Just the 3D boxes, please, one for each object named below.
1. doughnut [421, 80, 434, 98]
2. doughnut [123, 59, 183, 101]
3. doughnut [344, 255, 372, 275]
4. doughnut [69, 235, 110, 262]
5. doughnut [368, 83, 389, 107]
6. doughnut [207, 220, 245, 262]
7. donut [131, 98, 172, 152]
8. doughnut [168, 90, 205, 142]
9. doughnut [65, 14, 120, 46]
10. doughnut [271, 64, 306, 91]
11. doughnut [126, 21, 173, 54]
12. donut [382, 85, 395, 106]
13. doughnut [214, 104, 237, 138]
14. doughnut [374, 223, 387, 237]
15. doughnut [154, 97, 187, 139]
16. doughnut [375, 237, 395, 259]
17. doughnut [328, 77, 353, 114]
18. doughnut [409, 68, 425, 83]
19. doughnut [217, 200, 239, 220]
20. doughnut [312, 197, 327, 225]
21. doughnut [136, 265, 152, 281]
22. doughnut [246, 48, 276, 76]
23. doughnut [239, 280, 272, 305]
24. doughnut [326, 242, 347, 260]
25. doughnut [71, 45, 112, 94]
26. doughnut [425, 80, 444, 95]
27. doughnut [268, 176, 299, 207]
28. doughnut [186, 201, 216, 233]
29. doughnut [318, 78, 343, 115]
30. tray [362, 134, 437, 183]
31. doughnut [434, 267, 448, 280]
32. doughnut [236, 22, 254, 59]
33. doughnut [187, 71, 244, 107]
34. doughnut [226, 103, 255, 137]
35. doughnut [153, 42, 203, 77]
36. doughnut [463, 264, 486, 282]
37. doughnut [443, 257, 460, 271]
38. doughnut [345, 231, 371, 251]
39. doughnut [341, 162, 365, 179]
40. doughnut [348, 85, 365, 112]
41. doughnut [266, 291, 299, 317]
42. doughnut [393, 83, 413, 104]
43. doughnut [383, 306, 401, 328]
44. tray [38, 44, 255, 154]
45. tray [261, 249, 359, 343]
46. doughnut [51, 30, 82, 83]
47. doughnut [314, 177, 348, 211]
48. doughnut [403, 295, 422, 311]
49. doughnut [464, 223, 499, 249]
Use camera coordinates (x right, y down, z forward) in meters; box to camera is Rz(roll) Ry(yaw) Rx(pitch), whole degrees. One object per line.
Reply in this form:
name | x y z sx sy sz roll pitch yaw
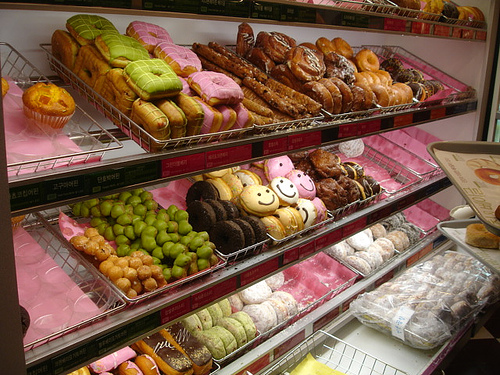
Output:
doughnut | 1.550 -0.875 2.982 0.034 0.139 0.136 -20 20 10
doughnut | -0.396 -0.457 1.440 0.177 0.087 0.211 -19 57 -36
doughnut | 0.848 0.602 2.681 0.142 0.038 0.153 35 -3 8
doughnut | -0.709 0.246 1.555 0.184 0.070 0.115 -14 42 49
doughnut | 0.932 -0.665 2.498 0.047 0.155 0.151 -19 20 6
doughnut | -0.145 0.278 1.761 0.218 0.063 0.237 9 34 -14
donut | -0.388 -0.256 1.366 0.075 0.144 0.147 -25 56 -29
doughnut | -0.271 -0.292 1.440 0.070 0.159 0.173 -17 55 -21
doughnut | -0.701 -0.706 1.503 0.190 0.071 0.192 41 42 10
doughnut | 0.256 -0.720 2.219 0.217 0.094 0.289 11 2 10
doughnut | -0.506 -0.769 1.706 0.199 0.068 0.201 -14 54 -45
donut | 1.039 -0.690 2.546 0.039 0.132 0.126 -9 3 8
doughnut | -0.118 -0.305 1.576 0.067 0.113 0.125 -3 36 -34
doughnut | 1.200 0.378 3.132 0.041 0.128 0.126 -31 72 1
doughnut | -0.325 -0.278 1.383 0.055 0.124 0.128 -17 46 -25
doughnut | 1.156 0.516 2.966 0.047 0.146 0.150 -20 73 -28
doughnut | 0.574 -0.585 2.178 0.063 0.202 0.201 -6 24 -15
doughnut | 1.472 -1.006 3.050 0.112 0.051 0.161 10 37 -26
doughnut | -0.119 0.117 1.875 0.022 0.093 0.090 -26 64 -5
doughnut | 0.444 0.144 2.170 0.056 0.132 0.121 -29 1 13
doughnut | -0.443 0.358 1.436 0.054 0.060 0.056 -4 9 -21
doughnut | 0.059 -0.843 2.254 0.065 0.143 0.197 -40 76 -22
doughnut | 0.039 0.699 2.269 0.152 0.051 0.167 -4 24 -9
doughnut | 0.687 0.525 2.747 0.126 0.032 0.133 21 29 -7
doughnut | -0.671 -0.506 1.451 0.195 0.204 0.072 36 26 20
doughnut | 1.676 -0.925 3.099 0.177 0.050 0.189 -19 44 -32
doughnut | 0.211 0.015 2.064 0.170 0.065 0.170 53 34 -1
doughnut | -0.265 0.146 1.831 0.040 0.154 0.153 -16 56 -43
doughnut | 0.508 -0.559 2.106 0.056 0.203 0.194 -8 10 -15
tray | 1.422 -0.298 3.278 0.674 0.160 0.324 39 34 17
doughnut | 1.506 0.673 2.719 0.074 0.075 0.077 12 40 31
doughnut | -0.036 -0.978 2.271 0.114 0.230 0.071 0 10 -3
doughnut | -0.143 -0.452 1.659 0.233 0.083 0.223 20 33 40
doughnut | -0.037 -0.344 1.677 0.144 0.160 0.056 23 35 22
doughnut | -0.363 -0.632 1.696 0.193 0.072 0.202 32 34 -4
doughnut | 1.755 0.660 2.691 0.098 0.080 0.099 11 22 32
doughnut | 1.630 0.624 2.794 0.060 0.031 0.124 18 34 28
doughnut | 0.891 0.443 2.851 0.161 0.052 0.172 22 38 21
doughnut | 0.815 -0.120 2.673 0.141 0.050 0.144 -2 23 -40
doughnut | 0.699 -0.585 2.239 0.048 0.155 0.153 -1 9 -15
doughnut | 0.218 0.771 2.278 0.144 0.074 0.150 41 11 -8
doughnut | 1.214 -0.767 2.752 0.158 0.092 0.164 15 21 -29
doughnut | 0.938 0.866 2.302 0.101 0.026 0.105 -5 47 34
tray | -0.475 -0.387 1.512 0.603 0.086 0.368 46 34 16
tray | 0.489 0.701 2.557 0.430 0.098 0.702 -26 18 -15
doughnut | -0.802 -0.586 1.510 0.080 0.200 0.223 -11 42 -41
doughnut | 0.533 0.051 2.310 0.189 0.210 0.059 -19 -8 -35
doughnut | 1.112 0.791 2.355 0.059 0.024 0.103 16 29 27
doughnut | 1.175 0.250 1.766 0.157 0.062 0.166 13 25 20
